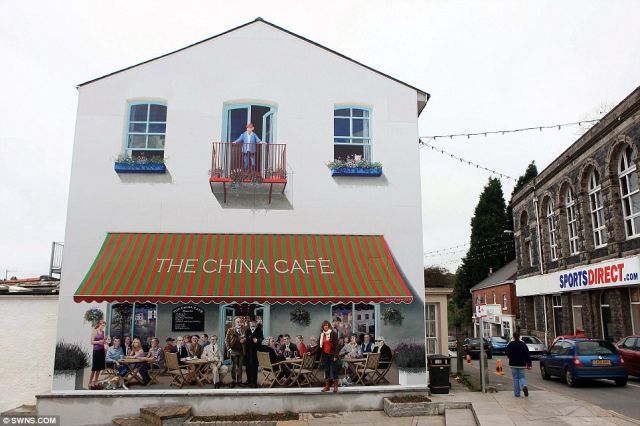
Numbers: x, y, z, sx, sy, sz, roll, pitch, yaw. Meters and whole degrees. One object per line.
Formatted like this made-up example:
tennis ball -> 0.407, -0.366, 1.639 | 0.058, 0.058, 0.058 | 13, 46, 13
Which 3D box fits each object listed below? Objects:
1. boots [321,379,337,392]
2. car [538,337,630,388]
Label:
boots -> 0.446, 6.877, 19.961 | 0.446, 0.381, 0.515 | -6, -29, 17
car -> 12.438, 7.051, 24.508 | 2.158, 1.666, 3.684 | 1, -12, 3
